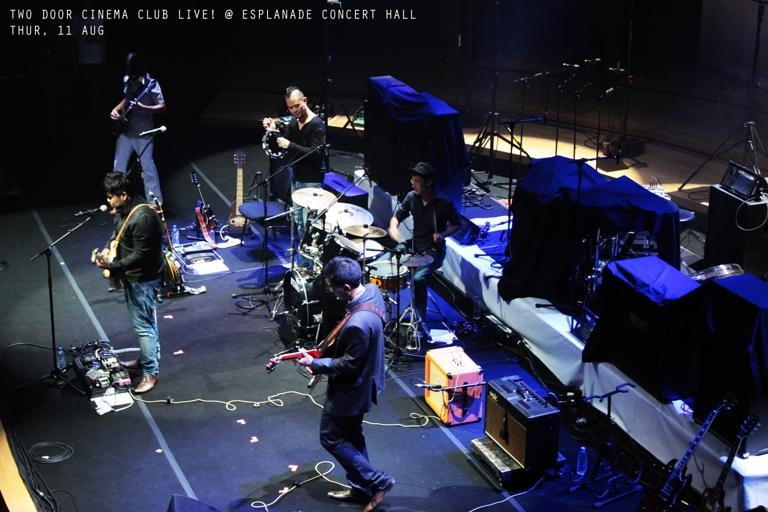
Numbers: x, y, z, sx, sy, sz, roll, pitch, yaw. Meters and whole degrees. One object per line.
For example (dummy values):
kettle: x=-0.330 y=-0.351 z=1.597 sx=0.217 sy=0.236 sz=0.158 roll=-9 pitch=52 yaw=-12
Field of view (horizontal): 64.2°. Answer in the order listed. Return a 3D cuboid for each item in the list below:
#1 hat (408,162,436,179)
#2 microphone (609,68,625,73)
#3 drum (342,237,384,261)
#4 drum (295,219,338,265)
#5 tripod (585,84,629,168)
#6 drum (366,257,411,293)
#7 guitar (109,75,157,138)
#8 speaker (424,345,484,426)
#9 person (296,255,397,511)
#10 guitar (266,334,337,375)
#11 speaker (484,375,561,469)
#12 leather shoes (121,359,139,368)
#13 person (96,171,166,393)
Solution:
hat: x=0.502 y=-1.160 z=8.196 sx=0.283 sy=0.132 sz=0.201 roll=24 pitch=7 yaw=-27
microphone: x=4.814 y=-3.860 z=12.682 sx=0.335 sy=0.079 sz=0.302 roll=-8 pitch=15 yaw=-28
drum: x=-0.262 y=-0.101 z=7.944 sx=0.360 sy=0.121 sz=0.322 roll=11 pitch=21 yaw=2
drum: x=-0.907 y=-0.232 z=8.371 sx=0.520 sy=0.662 sz=0.242 roll=-9 pitch=-34 yaw=36
tripod: x=4.759 y=-2.985 z=13.106 sx=0.756 sy=1.648 sz=3.248 roll=2 pitch=20 yaw=20
drum: x=0.042 y=0.289 z=8.164 sx=0.642 sy=0.228 sz=0.620 roll=1 pitch=16 yaw=0
guitar: x=-4.458 y=-2.687 z=11.052 sx=0.743 sy=1.199 sz=0.378 roll=47 pitch=26 yaw=14
speaker: x=0.805 y=1.533 z=7.239 sx=0.682 sy=0.735 sz=0.619 roll=-5 pitch=20 yaw=2
person: x=-0.281 y=1.249 z=5.823 sx=0.780 sy=2.533 sz=0.644 roll=-23 pitch=26 yaw=-38
guitar: x=-0.939 y=1.115 z=6.886 sx=0.714 sy=0.269 sz=0.688 roll=-9 pitch=-2 yaw=-23
speaker: x=1.427 y=1.778 z=6.427 sx=0.438 sy=0.680 sz=0.753 roll=-6 pitch=20 yaw=-15
leather shoes: x=-3.290 y=1.389 z=7.915 sx=0.162 sy=0.058 sz=0.113 roll=3 pitch=4 yaw=18
person: x=-2.955 y=0.319 z=7.361 sx=0.767 sy=2.623 sz=0.548 roll=-15 pitch=22 yaw=-22
